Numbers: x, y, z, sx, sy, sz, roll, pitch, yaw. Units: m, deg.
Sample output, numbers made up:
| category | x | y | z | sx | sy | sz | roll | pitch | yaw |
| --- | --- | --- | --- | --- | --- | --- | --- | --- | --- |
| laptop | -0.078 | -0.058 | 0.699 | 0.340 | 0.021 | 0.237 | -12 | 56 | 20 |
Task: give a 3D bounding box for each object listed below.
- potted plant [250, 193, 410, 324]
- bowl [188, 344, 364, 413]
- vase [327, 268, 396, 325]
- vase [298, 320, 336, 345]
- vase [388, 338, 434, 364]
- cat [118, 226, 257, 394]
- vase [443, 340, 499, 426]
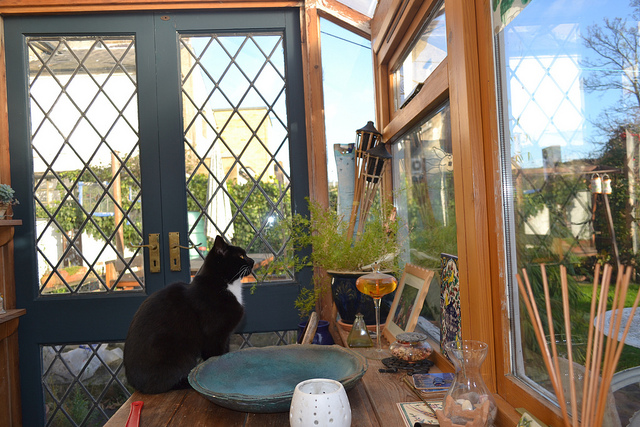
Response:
| category | x | y | z | sx | sy | sz | roll | pitch | yaw |
| --- | --- | --- | --- | --- | --- | --- | --- | --- | --- |
| potted plant | -0.064 | 0.327 | 2.709 | 0.712 | 0.631 | 0.777 | -2 | -12 | -11 |
| bowl | -0.142 | 0.609 | 1.781 | 0.603 | 0.153 | 0.423 | -1 | 2 | 23 |
| vase | 0.171 | 0.399 | 2.448 | 0.273 | 0.225 | 0.286 | -5 | -6 | 35 |
| vase | -0.009 | 0.582 | 2.348 | 0.115 | 0.153 | 0.133 | 4 | -19 | -12 |
| vase | 0.374 | 0.582 | 2.038 | 0.195 | 0.121 | 0.208 | -4 | -1 | 7 |
| cat | -0.572 | 0.434 | 2.128 | 0.538 | 0.640 | 0.385 | -5 | 4 | -15 |
| vase | 0.475 | 0.543 | 1.543 | 0.148 | 0.241 | 0.122 | -1 | 2 | 31 |
